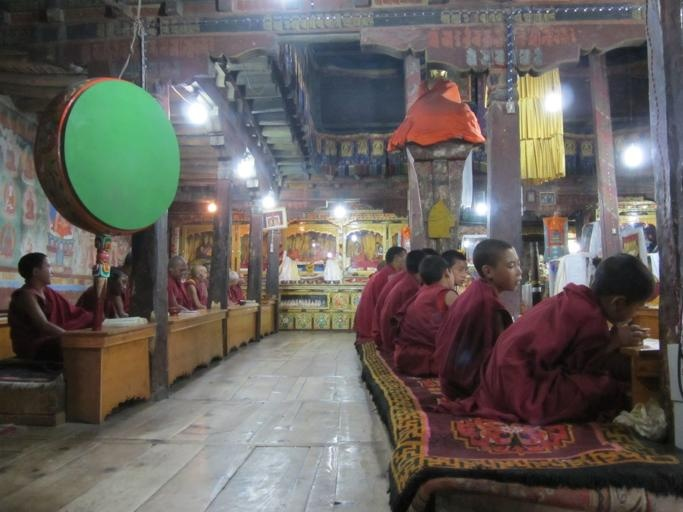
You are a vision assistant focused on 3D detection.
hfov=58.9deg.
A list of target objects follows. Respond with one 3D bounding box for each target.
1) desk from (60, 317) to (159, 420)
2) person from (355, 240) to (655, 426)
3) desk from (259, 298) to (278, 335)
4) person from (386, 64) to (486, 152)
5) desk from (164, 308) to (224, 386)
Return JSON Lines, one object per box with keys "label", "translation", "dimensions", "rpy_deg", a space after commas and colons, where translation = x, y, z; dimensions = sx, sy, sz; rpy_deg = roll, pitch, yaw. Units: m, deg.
{"label": "desk", "translation": [-2.084, 1.027, 5.516], "dimensions": [0.407, 0.789, 1.041], "rpy_deg": [0, -3, 5]}
{"label": "person", "translation": [1.326, 0.546, 4.372], "dimensions": [1.270, 1.040, 1.080], "rpy_deg": [-3, -10, -1]}
{"label": "desk", "translation": [-1.390, 1.135, 11.371], "dimensions": [0.225, 0.362, 0.689], "rpy_deg": [0, -3, 2]}
{"label": "person", "translation": [1.173, -1.654, 6.916], "dimensions": [1.028, 0.528, 1.525], "rpy_deg": [8, 28, 29]}
{"label": "desk", "translation": [-1.825, 1.001, 7.056], "dimensions": [0.447, 0.677, 1.812], "rpy_deg": [0, 1, 10]}
